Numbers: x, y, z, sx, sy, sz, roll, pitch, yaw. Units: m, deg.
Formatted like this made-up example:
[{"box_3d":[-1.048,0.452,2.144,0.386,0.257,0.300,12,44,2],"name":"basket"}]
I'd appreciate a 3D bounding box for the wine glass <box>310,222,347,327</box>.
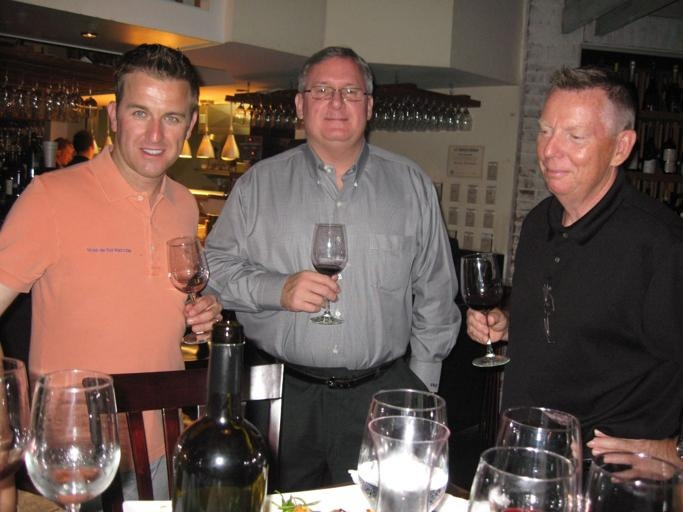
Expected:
[{"box_3d":[-0.053,0.078,2.255,0.129,0.416,0.260,0,5,-4],"name":"wine glass"}]
